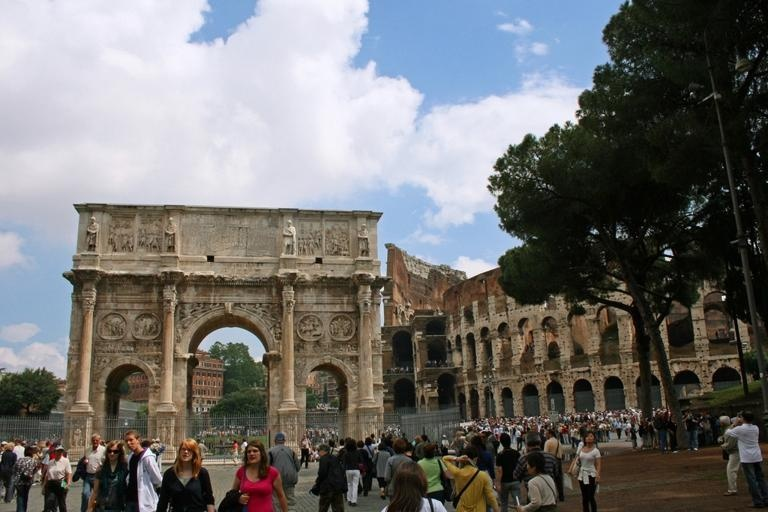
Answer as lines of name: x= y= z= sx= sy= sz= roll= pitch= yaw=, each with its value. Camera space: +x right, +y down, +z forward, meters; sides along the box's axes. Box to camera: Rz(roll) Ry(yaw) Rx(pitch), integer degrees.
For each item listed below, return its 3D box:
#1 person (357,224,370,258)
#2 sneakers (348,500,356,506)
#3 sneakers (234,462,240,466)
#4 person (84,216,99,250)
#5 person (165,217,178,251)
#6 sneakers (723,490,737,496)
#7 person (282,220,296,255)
person: x=-1.078 y=-0.907 z=41.340 sx=0.653 sy=1.933 sz=0.336 roll=4 pitch=-18 yaw=-28
sneakers: x=-1.007 y=8.127 z=24.964 sx=0.199 sy=0.201 sz=0.132 roll=3 pitch=12 yaw=12
sneakers: x=-7.193 y=10.198 z=37.215 sx=0.160 sy=0.160 sz=0.157 roll=-1 pitch=-12 yaw=-8
person: x=-15.119 y=-1.210 z=39.335 sx=0.618 sy=1.954 sz=0.235 roll=-3 pitch=-16 yaw=-6
person: x=-11.162 y=-1.141 z=39.775 sx=0.583 sy=1.947 sz=0.210 roll=-1 pitch=-16 yaw=-12
sneakers: x=10.170 y=6.939 z=22.256 sx=0.350 sy=0.145 sz=0.126 roll=2 pitch=-14 yaw=4
person: x=-5.086 y=-1.077 z=40.696 sx=0.623 sy=2.019 sz=0.276 roll=-2 pitch=-16 yaw=-7
